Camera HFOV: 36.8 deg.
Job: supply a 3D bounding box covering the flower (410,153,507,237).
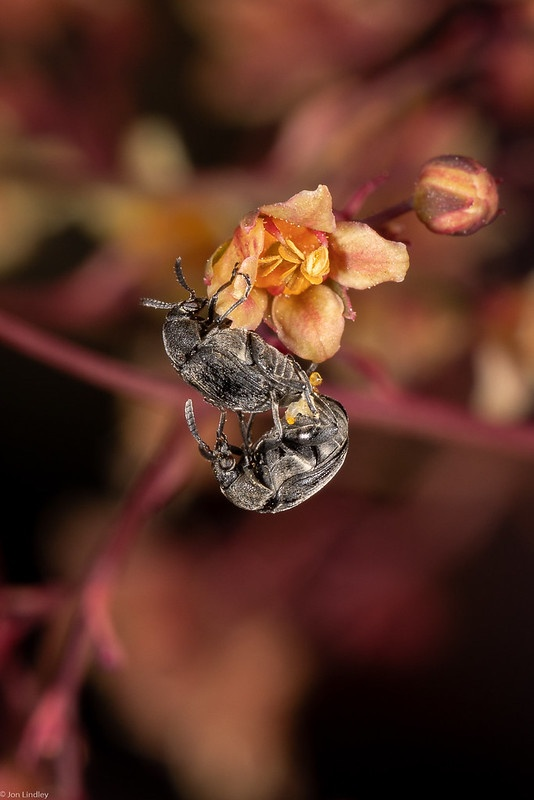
[{"bbox_3d":[0.100,-0.116,0.436,0.032,0.051,0.034,-1,98,-17],"label":"flower"}]
